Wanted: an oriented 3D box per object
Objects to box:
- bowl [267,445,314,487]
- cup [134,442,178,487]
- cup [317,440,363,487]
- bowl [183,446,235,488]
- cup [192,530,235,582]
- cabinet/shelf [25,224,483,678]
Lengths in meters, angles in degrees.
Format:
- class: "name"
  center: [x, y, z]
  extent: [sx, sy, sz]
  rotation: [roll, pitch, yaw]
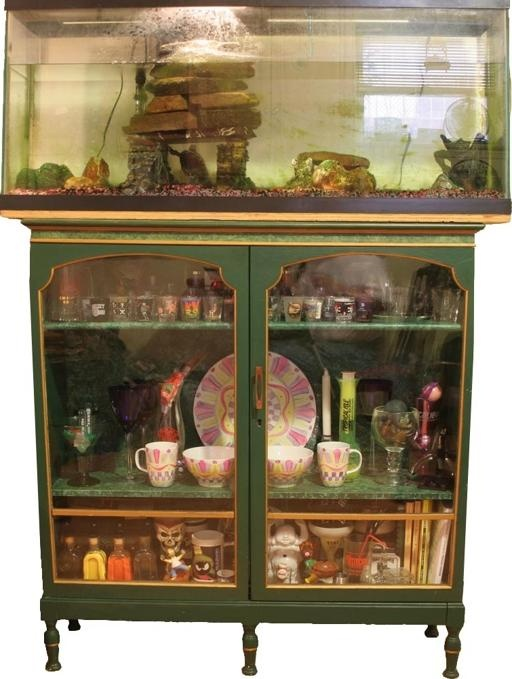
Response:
- class: "bowl"
  center: [0.127, 0.454, 2.808]
  extent: [0.168, 0.090, 0.159]
  rotation: [1, 2, 0]
- class: "cup"
  center: [-0.384, 0.475, 2.871]
  extent: [0.182, 0.144, 0.112]
  rotation: [1, 1, 12]
- class: "cup"
  center: [0.312, 0.474, 2.869]
  extent: [0.207, 0.140, 0.125]
  rotation: [2, -5, -21]
- class: "bowl"
  center: [-0.174, 0.469, 2.835]
  extent: [0.172, 0.092, 0.163]
  rotation: [2, -4, 0]
- class: "cup"
  center: [-0.167, 0.814, 2.907]
  extent: [0.130, 0.164, 0.206]
  rotation: [2, 5, 21]
- class: "cabinet/shelf"
  center: [-0.014, 0.313, 2.764]
  extent: [1.835, 1.737, 0.637]
  rotation: [0, 2, 1]
